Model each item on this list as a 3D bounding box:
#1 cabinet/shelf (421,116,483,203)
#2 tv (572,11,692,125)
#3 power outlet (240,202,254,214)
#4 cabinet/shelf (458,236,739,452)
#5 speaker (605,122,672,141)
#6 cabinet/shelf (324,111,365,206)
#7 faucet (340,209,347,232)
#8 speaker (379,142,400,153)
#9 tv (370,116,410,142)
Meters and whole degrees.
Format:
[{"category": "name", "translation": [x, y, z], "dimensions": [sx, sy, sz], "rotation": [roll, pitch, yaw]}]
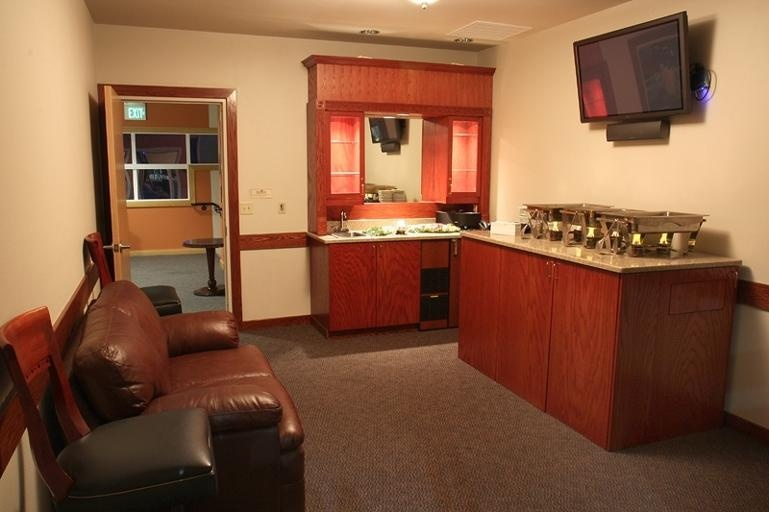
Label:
[{"category": "cabinet/shelf", "translation": [0.835, -1.195, 6.712], "dimensions": [0.752, 1.057, 0.359], "rotation": [1, 15, 4]}, {"category": "tv", "translation": [2.189, -1.652, 4.729], "dimensions": [0.115, 0.847, 1.134], "rotation": [-10, 12, -26]}, {"category": "power outlet", "translation": [-1.592, -0.573, 6.280], "dimensions": [0.131, 0.131, 0.043], "rotation": [-2, 6, -23]}, {"category": "cabinet/shelf", "translation": [1.797, 0.785, 4.827], "dimensions": [1.379, 1.604, 2.456], "rotation": [-3, 10, -19]}, {"category": "speaker", "translation": [2.294, -1.156, 4.932], "dimensions": [0.154, 0.197, 0.566], "rotation": [-8, 17, -28]}, {"category": "cabinet/shelf", "translation": [-0.443, -1.139, 6.269], "dimensions": [0.445, 1.025, 0.231], "rotation": [-3, 15, -11]}, {"category": "faucet", "translation": [-0.479, -0.438, 6.508], "dimensions": [0.094, 0.222, 0.221], "rotation": [-1, 15, -4]}, {"category": "speaker", "translation": [0.084, -1.362, 6.680], "dimensions": [0.192, 0.144, 0.097], "rotation": [3, -3, -6]}, {"category": "tv", "translation": [0.061, -1.568, 6.670], "dimensions": [0.511, 0.296, 0.112], "rotation": [-10, 18, -33]}]
